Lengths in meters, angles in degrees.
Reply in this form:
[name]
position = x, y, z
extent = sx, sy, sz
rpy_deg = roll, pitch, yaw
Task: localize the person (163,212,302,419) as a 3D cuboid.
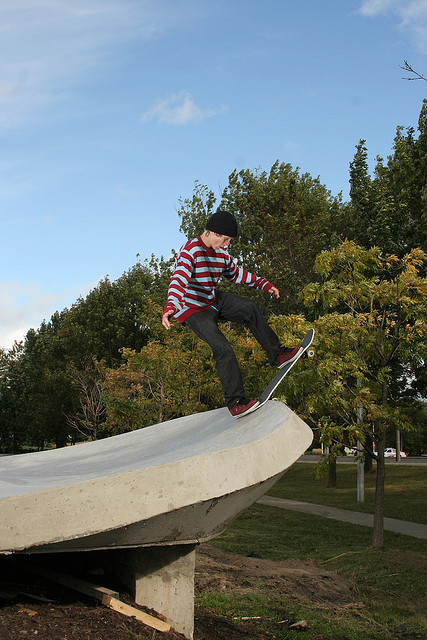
[person]
position = 0.174, -0.002, 5.689
extent = 0.924, 1.840, 1.342
rpy_deg = 0, -1, 11
